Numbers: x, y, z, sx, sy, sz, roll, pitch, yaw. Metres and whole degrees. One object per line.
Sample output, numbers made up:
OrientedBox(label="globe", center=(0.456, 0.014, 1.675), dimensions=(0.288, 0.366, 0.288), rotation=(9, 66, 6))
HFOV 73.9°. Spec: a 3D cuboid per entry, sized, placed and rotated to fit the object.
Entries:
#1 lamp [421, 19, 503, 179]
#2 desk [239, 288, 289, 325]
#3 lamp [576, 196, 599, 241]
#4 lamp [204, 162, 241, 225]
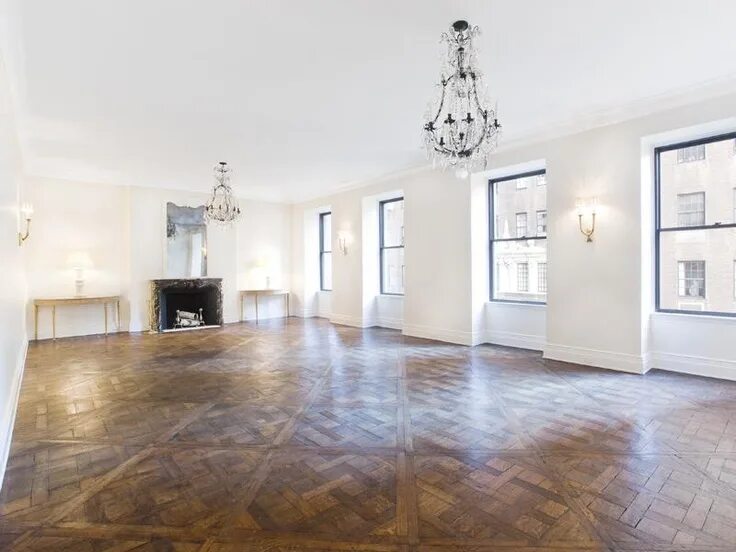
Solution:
OrientedBox(label="lamp", center=(1.059, -1.926, 5.687), dimensions=(0.917, 1.473, 1.868), rotation=(3, 13, 13))
OrientedBox(label="desk", center=(-2.486, 0.872, 11.822), dimensions=(0.633, 1.032, 1.419), rotation=(-3, -4, 40))
OrientedBox(label="lamp", center=(3.009, -0.783, 6.756), dimensions=(0.268, 0.622, 0.108), rotation=(6, 14, 25))
OrientedBox(label="lamp", center=(-2.961, -1.816, 9.830), dimensions=(0.690, 0.718, 1.271), rotation=(3, -43, -17))
